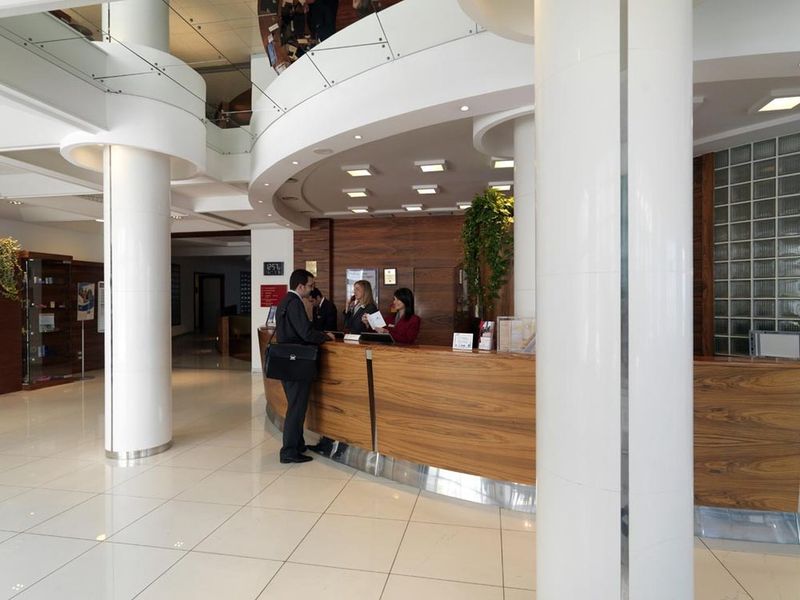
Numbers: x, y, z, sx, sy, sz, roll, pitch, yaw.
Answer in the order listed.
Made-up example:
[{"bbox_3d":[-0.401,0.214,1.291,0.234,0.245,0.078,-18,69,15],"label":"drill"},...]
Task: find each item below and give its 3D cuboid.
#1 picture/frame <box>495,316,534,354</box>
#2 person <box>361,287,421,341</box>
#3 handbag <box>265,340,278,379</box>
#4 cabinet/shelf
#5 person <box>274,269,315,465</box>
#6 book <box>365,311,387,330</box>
[{"bbox_3d":[1.075,0.317,5.224,0.336,0.308,0.291,0,8,8],"label":"picture/frame"},{"bbox_3d":[-0.045,0.196,6.752,0.510,0.615,1.573,-1,7,5],"label":"person"},{"bbox_3d":[-1.394,0.662,6.161,0.122,0.374,0.301,-4,8,-15],"label":"handbag"},{"bbox_3d":[-6.796,0.339,10.844,0.349,2.538,1.267,0,8,13],"label":"cabinet/shelf"},{"bbox_3d":[-1.123,0.720,6.229,0.470,2.078,0.571,-3,8,-11],"label":"person"},{"bbox_3d":[-0.260,0.221,6.228,0.173,0.206,0.421,-3,7,-8],"label":"book"}]
